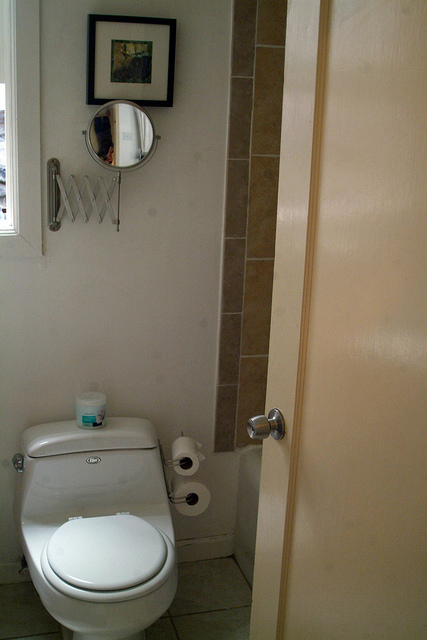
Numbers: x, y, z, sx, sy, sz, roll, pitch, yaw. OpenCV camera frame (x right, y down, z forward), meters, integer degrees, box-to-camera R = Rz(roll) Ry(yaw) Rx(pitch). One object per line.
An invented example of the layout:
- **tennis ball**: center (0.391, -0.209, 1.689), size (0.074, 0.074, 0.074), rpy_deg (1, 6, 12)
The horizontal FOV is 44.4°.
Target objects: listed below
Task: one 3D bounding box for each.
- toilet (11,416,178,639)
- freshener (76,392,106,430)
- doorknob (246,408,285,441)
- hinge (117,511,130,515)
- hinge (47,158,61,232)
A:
- **toilet**: center (-0.338, 0.581, 1.598), size (0.434, 0.633, 0.685), rpy_deg (-1, 12, -16)
- **freshener**: center (-0.406, 0.302, 1.775), size (0.094, 0.106, 0.101), rpy_deg (-2, 5, -36)
- **doorknob**: center (0.083, 0.159, 0.839), size (0.047, 0.061, 0.053), rpy_deg (1, 17, -29)
- **hinge**: center (-0.290, 0.618, 1.672), size (0.028, 0.007, 0.022), rpy_deg (2, 0, -1)
- **hinge**: center (-0.531, -0.414, 1.746), size (0.045, 0.248, 0.029), rpy_deg (-7, 33, -26)
